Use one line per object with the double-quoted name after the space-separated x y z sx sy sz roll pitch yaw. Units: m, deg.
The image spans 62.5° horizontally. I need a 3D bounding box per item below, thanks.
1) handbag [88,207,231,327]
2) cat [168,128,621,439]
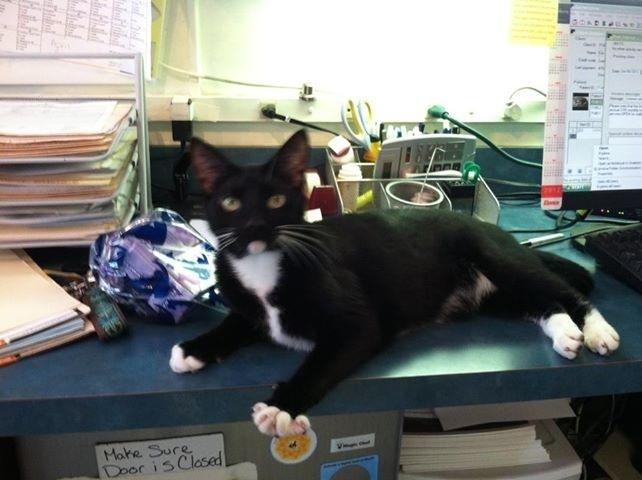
-0.266 0.017 0.925 0.231 0.142 0.154 30 33 14 "handbag"
0.170 0.008 0.886 0.723 0.415 0.327 -9 6 -25 "cat"
